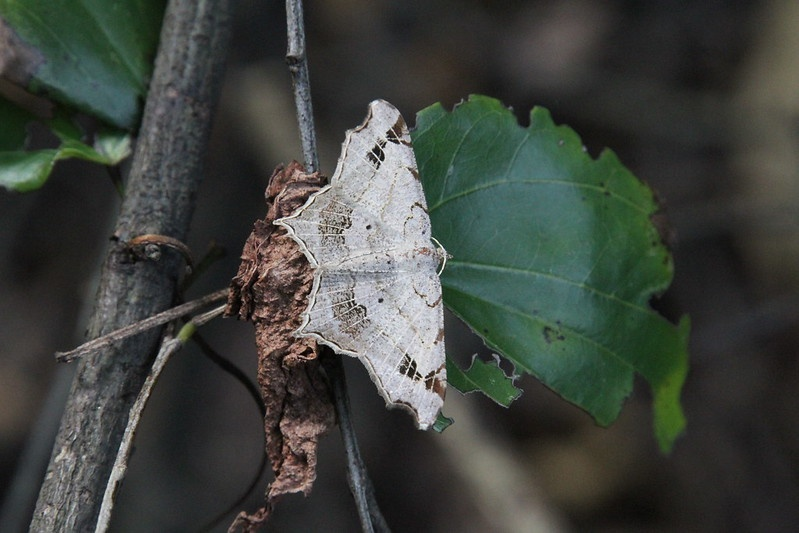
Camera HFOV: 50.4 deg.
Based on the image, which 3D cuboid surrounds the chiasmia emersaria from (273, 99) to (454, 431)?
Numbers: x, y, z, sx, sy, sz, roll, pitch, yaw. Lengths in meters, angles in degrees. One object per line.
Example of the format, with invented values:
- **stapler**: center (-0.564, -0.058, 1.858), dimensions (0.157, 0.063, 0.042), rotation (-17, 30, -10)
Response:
- **chiasmia emersaria**: center (-0.061, -0.010, 1.805), dimensions (0.351, 0.067, 0.688), rotation (-5, 80, -15)
